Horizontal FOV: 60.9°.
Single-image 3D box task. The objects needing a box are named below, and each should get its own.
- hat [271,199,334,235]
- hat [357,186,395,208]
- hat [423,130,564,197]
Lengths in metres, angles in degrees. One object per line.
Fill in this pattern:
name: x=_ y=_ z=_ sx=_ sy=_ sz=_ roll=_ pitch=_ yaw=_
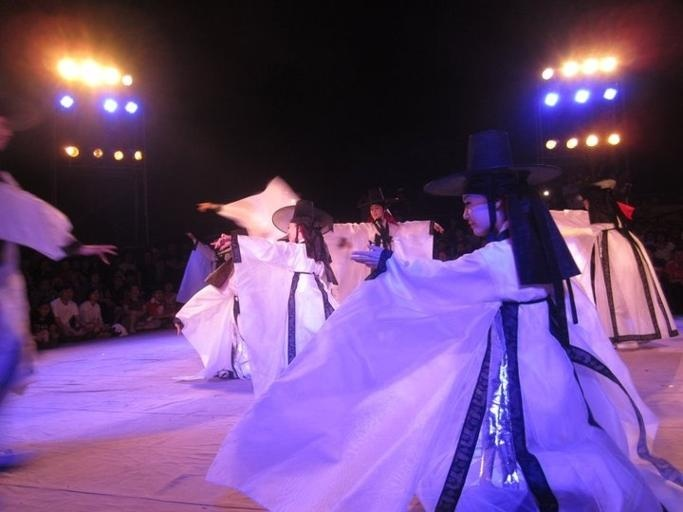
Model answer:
hat: x=-0.385 y=-0.416 z=5.878 sx=0.376 sy=0.159 sz=0.420 roll=5 pitch=-5 yaw=4
hat: x=0.475 y=-0.887 z=7.848 sx=0.404 sy=0.212 sz=0.513 roll=-4 pitch=-6 yaw=15
hat: x=1.088 y=-0.751 z=3.991 sx=0.672 sy=0.265 sz=0.582 roll=-1 pitch=-9 yaw=-13
